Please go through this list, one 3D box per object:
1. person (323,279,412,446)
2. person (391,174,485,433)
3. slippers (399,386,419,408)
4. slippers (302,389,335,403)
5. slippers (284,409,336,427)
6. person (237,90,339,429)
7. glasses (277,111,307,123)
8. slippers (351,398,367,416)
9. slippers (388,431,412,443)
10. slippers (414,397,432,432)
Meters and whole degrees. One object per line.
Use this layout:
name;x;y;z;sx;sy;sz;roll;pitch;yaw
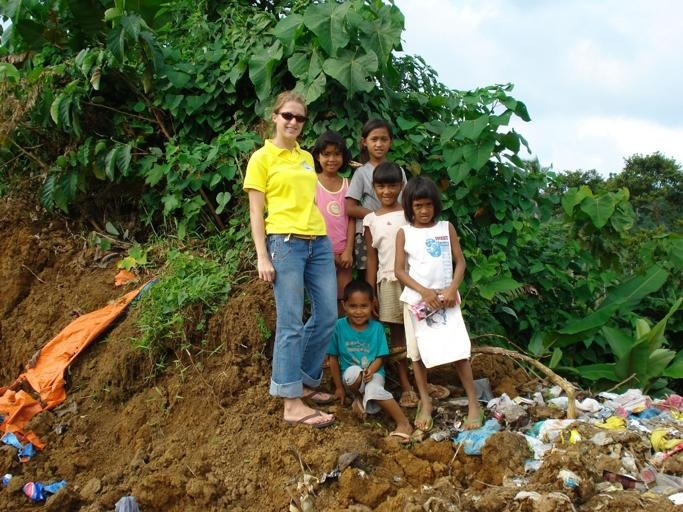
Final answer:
person;0.054;0.814;4.586;0.656;1.312;1.210;-10;17;-11
person;0.737;0.369;4.344;0.578;2.013;0.520;-1;7;-5
slippers;0.577;1.209;4.560;0.203;0.123;0.453;-2;-1;1
slippers;-0.197;1.157;4.473;0.253;0.070;0.109;6;15;-1
slippers;-0.228;1.276;4.209;0.263;0.073;0.150;-3;3;13
person;-0.392;0.006;4.248;0.711;2.597;0.563;0;7;-2
glasses;-0.371;-1.084;4.181;0.221;0.078;0.077;-3;8;-25
slippers;0.148;1.249;4.429;0.055;0.131;0.096;-3;-13;-45
slippers;0.470;1.405;4.209;0.127;0.037;0.076;11;-2;33
slippers;0.666;1.286;4.303;0.156;0.205;0.234;0;7;2
